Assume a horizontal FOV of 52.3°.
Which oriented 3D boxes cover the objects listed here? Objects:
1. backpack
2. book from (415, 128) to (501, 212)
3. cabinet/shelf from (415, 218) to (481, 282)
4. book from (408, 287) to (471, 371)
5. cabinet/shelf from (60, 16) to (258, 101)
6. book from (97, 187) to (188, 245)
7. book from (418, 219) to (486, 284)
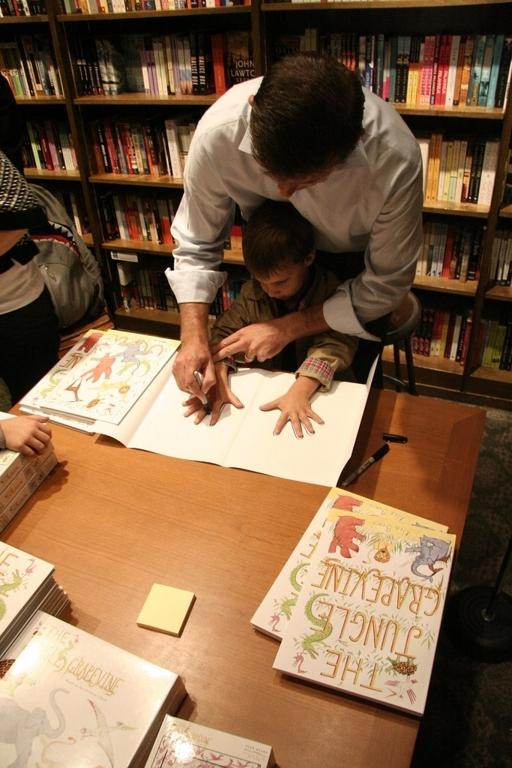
[{"bbox_3d":[-0.629,-0.416,1.886,0.224,0.535,0.265,-12,38,-27],"label":"backpack"},{"bbox_3d":[0.801,-0.855,2.104,0.301,0.270,0.166,5,34,17],"label":"book"},{"bbox_3d":[0.868,-0.588,2.324,0.228,0.276,0.126,3,34,2],"label":"cabinet/shelf"},{"bbox_3d":[0.897,-0.263,2.602,0.284,0.446,0.177,0,32,-4],"label":"book"},{"bbox_3d":[-0.425,-1.445,2.236,0.770,0.414,0.210,8,33,15],"label":"cabinet/shelf"},{"bbox_3d":[-0.600,-0.958,2.974,0.508,0.422,0.261,14,36,20],"label":"book"},{"bbox_3d":[0.870,-0.587,2.273,0.319,0.308,0.128,18,42,26],"label":"book"}]
